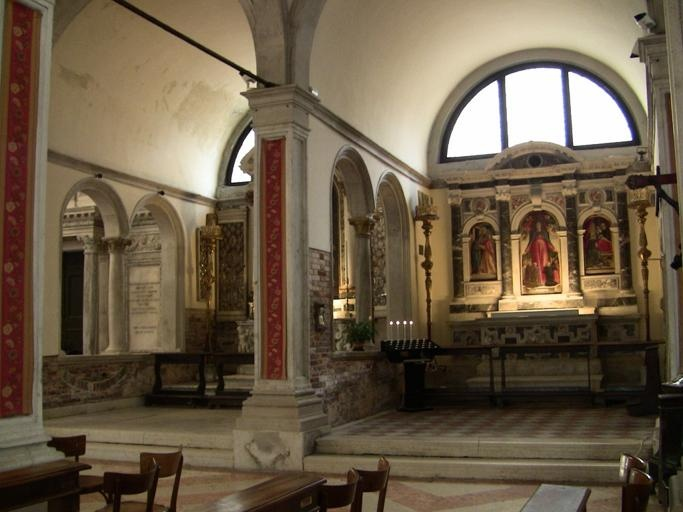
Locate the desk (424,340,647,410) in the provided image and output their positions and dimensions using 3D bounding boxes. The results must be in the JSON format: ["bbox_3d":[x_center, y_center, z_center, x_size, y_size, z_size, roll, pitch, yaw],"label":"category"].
[{"bbox_3d":[3.736,2.019,11.434,3.332,1.034,2.416,-5,-6,20],"label":"desk"}]

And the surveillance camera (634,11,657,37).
[{"bbox_3d":[3.907,-3.027,8.176,0.225,0.341,0.414,-6,-6,32],"label":"surveillance camera"}]

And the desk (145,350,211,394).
[{"bbox_3d":[-3.066,2.185,11.929,1.434,0.768,0.443,-7,-7,37],"label":"desk"}]

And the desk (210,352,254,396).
[{"bbox_3d":[-2.102,2.252,12.155,0.839,0.813,0.578,-2,-13,8],"label":"desk"}]
